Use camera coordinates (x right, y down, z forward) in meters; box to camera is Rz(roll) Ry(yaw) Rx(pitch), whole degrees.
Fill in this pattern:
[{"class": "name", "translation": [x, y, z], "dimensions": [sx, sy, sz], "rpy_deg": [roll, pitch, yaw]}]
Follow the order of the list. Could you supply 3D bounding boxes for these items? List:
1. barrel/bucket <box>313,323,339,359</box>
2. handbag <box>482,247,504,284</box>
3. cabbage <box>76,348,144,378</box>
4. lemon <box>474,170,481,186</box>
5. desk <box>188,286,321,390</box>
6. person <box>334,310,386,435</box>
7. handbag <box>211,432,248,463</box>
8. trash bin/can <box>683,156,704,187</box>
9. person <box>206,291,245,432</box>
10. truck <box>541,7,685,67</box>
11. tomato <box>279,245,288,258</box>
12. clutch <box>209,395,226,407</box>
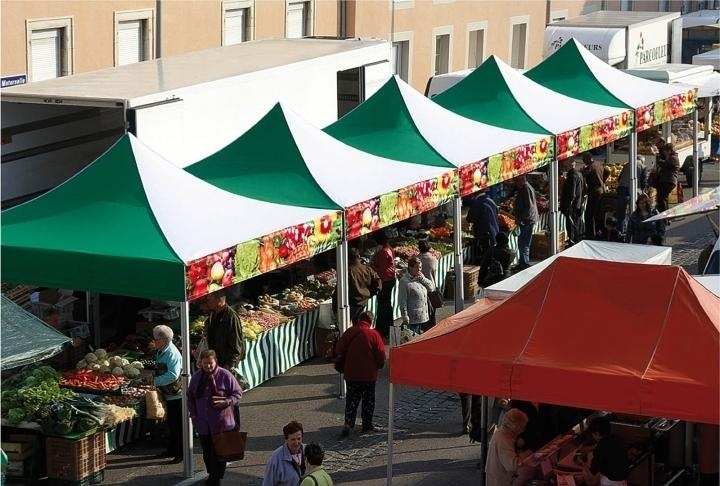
[{"class": "barrel/bucket", "translation": [-0.529, 1.587, 19.871], "dimensions": [0.459, 0.655, 0.473], "rpy_deg": [3, 14, -1]}, {"class": "handbag", "translation": [2.234, 0.405, 21.008], "dimensions": [0.315, 0.598, 0.574], "rpy_deg": [0, -4, -12]}, {"class": "cabbage", "translation": [-3.498, 1.753, 17.552], "dimensions": [0.494, 0.161, 0.485], "rpy_deg": [11, 6, -1]}, {"class": "lemon", "translation": [1.901, -1.071, 20.503], "dimensions": [0.056, 0.216, 0.146], "rpy_deg": [10, -13, -35]}, {"class": "desk", "translation": [-1.392, 1.375, 19.220], "dimensions": [0.551, 1.129, 2.280], "rpy_deg": [-42, -10, 28]}, {"class": "person", "translation": [0.062, 1.833, 17.581], "dimensions": [0.609, 1.688, 0.771], "rpy_deg": [0, 1, 12]}, {"class": "handbag", "translation": [-1.710, 2.669, 16.129], "dimensions": [0.461, 0.454, 0.189], "rpy_deg": [-2, -8, -9]}, {"class": "trash bin/can", "translation": [7.811, -1.691, 29.517], "dimensions": [0.471, 0.769, 3.611], "rpy_deg": [-3, 3, 15]}, {"class": "person", "translation": [-1.855, 1.272, 17.113], "dimensions": [0.579, 0.643, 1.693], "rpy_deg": [-25, -11, -5]}, {"class": "truck", "translation": [6.547, -5.373, 31.025], "dimensions": [3.231, 1.955, 3.293], "rpy_deg": [4, 8, 39]}, {"class": "tomato", "translation": [-1.058, 0.131, 17.356], "dimensions": [0.036, 0.129, 0.186], "rpy_deg": [-2, 3, 36]}, {"class": "clutch", "translation": [-1.811, 2.072, 16.034], "dimensions": [0.132, 0.141, 0.085], "rpy_deg": [4, 11, 4]}]
